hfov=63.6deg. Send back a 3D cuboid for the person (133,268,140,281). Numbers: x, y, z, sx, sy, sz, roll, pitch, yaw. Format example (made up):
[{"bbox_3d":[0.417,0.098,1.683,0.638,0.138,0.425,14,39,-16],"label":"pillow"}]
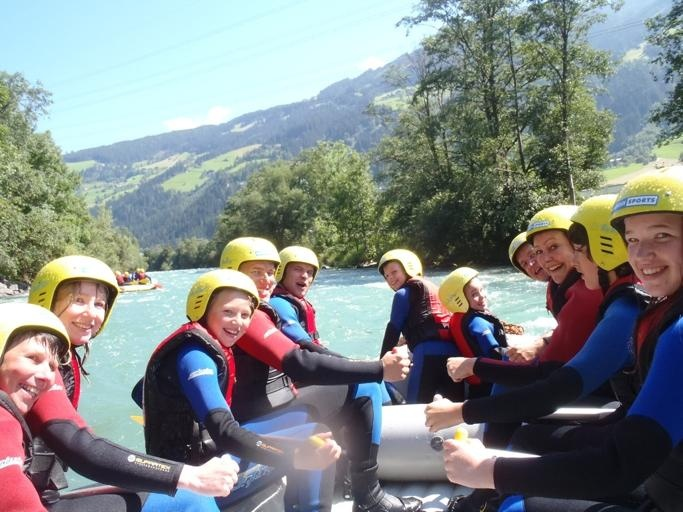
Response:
[{"bbox_3d":[-13.469,1.179,36.167,0.305,0.932,0.889,2,-11,-3],"label":"person"}]

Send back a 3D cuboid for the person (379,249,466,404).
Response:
[{"bbox_3d":[0.846,0.920,6.200,0.826,2.211,0.773,-3,21,11],"label":"person"}]

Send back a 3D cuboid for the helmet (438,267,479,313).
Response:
[{"bbox_3d":[1.142,0.333,5.580,0.438,0.451,0.344,8,3,6],"label":"helmet"}]

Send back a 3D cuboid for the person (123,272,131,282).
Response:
[{"bbox_3d":[-14.761,1.404,37.881,0.535,0.481,0.853,3,-8,-25],"label":"person"}]

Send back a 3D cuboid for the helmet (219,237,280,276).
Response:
[{"bbox_3d":[-0.781,-0.005,4.681,0.366,0.300,0.290,8,2,30],"label":"helmet"}]

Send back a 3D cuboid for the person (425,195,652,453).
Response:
[{"bbox_3d":[1.455,0.490,3.953,1.282,1.887,0.779,8,0,-6],"label":"person"}]
